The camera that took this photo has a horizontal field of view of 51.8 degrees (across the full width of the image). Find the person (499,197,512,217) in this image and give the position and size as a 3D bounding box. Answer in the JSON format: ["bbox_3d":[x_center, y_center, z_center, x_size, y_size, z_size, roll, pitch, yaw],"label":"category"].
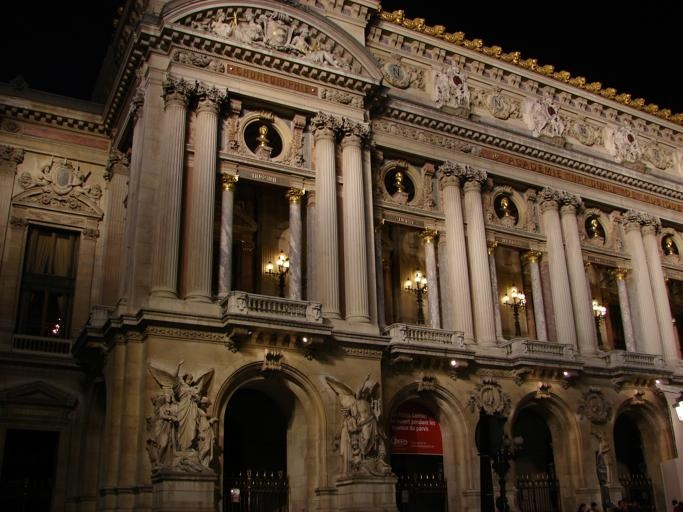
[{"bbox_3d":[7.976,-2.313,34.428,0.616,1.204,0.485,3,-23,-4],"label":"person"}]

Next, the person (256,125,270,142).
[{"bbox_3d":[-3.300,-4.932,29.318,0.486,0.966,0.469,8,-24,-16],"label":"person"}]
